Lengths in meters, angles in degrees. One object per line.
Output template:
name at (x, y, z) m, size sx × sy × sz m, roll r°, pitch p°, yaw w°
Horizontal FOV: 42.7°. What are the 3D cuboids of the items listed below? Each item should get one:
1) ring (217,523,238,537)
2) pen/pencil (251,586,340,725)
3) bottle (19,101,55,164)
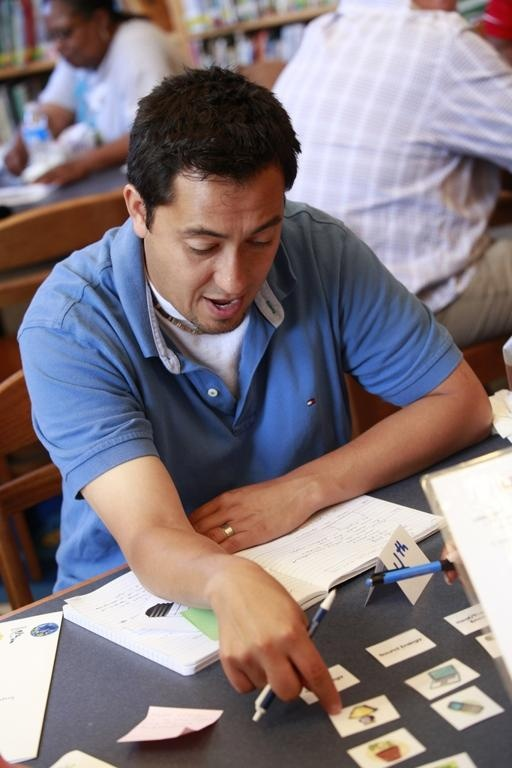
ring at (-0.037, 0.192, 0.863) m, size 0.011 × 0.005 × 0.015 m, roll -28°, pitch 32°, yaw -13°
pen/pencil at (0.032, 0.236, 0.559) m, size 0.016 × 0.114 × 0.016 m, roll 31°, pitch 17°, yaw -6°
bottle at (-1.173, -1.314, 3.496) m, size 0.124 × 0.405 × 0.121 m, roll -11°, pitch -16°, yaw -3°
